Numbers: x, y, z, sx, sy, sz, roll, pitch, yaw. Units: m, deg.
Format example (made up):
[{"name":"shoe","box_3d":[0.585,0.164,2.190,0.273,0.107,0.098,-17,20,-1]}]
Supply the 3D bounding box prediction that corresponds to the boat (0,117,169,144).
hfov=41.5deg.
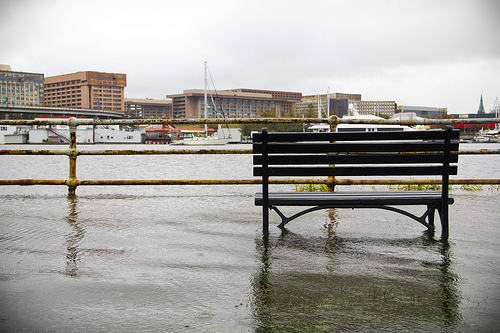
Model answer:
[{"name":"boat","box_3d":[-18.191,-3.489,71.756,9.569,2.726,13.258,1,1,40]}]

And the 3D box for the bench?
[{"name":"bench","box_3d":[1.252,0.150,7.757,2.426,1.237,0.673,0,6,0]}]
